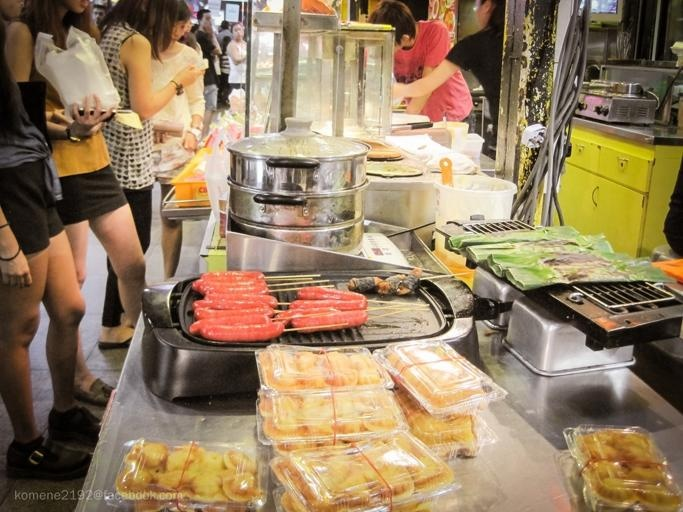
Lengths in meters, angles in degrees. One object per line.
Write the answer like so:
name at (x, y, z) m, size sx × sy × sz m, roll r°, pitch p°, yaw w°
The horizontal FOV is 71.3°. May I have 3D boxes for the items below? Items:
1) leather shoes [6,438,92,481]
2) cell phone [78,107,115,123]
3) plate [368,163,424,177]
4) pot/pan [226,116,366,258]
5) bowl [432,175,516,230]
leather shoes at (-1.311, 0.887, 2.244) m, size 0.414 × 0.183 × 0.203 m, roll 4°, pitch 18°, yaw -20°
cell phone at (-1.126, -0.650, 2.178) m, size 0.091 × 0.032 × 0.068 m, roll 3°, pitch 2°, yaw -6°
plate at (0.269, -0.436, 2.377) m, size 0.279 × 0.019 × 0.378 m, roll 3°, pitch 23°, yaw 2°
pot/pan at (-0.162, -0.236, 1.679) m, size 0.508 × 0.457 × 0.307 m, roll 2°, pitch 22°, yaw 2°
bowl at (0.509, -0.223, 1.873) m, size 0.298 × 0.234 × 0.304 m, roll 0°, pitch 17°, yaw 0°
